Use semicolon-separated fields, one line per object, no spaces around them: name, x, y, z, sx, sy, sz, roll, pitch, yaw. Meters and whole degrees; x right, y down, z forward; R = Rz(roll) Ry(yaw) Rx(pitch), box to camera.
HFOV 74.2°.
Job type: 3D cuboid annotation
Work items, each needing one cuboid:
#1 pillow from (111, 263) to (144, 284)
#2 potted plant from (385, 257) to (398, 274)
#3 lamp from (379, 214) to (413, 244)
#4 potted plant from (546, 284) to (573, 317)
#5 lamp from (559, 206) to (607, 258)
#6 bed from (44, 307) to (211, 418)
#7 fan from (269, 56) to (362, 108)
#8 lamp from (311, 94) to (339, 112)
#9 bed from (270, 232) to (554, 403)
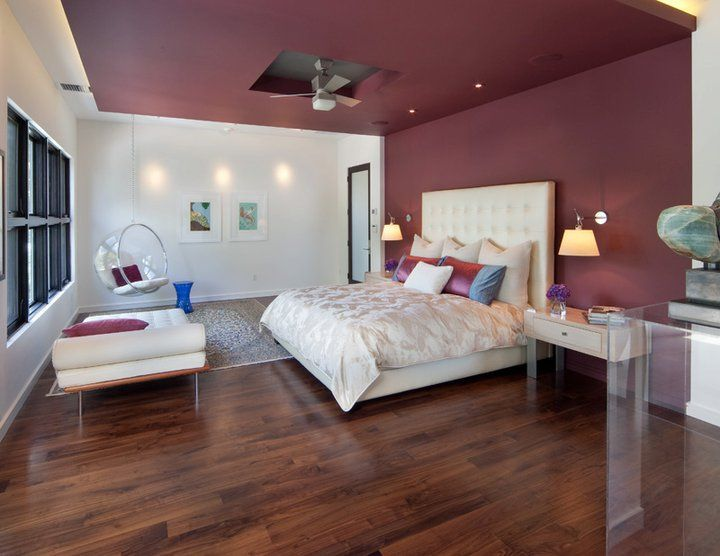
pillow;-2.836;-0.040;5.791;0.062;0.228;0.242;-19;0;28
potted plant;0.438;-0.174;6.798;0.188;0.199;0.192;0;3;-10
lamp;0.507;-0.699;6.809;0.408;0.370;0.322;1;-1;-21
potted plant;1.825;0.204;4.411;0.268;0.391;0.254;0;3;23
lamp;1.961;-0.392;4.189;0.440;0.440;0.354;2;-2;-28
bed;-1.991;0.678;4.189;1.092;0.706;1.106;-8;14;-30
fan;-0.323;-1.867;4.579;0.780;0.405;0.686;6;25;10
lamp;-0.355;-1.676;4.627;0.237;0.164;0.223;-1;2;-39
bed;0.451;0.470;4.464;1.747;0.963;1.746;-2;2;-27
